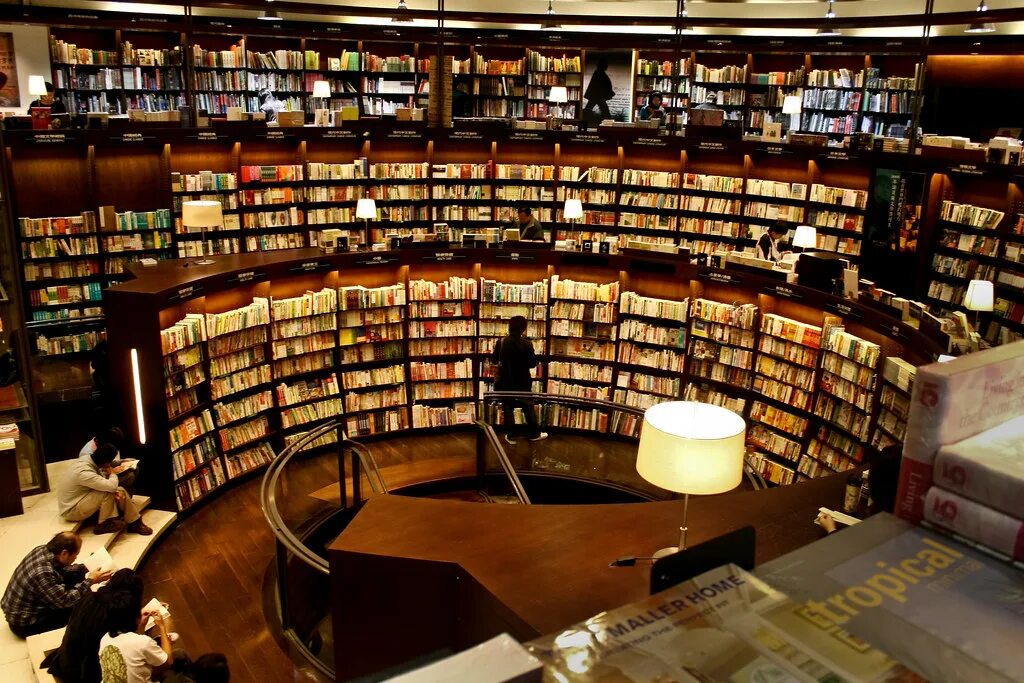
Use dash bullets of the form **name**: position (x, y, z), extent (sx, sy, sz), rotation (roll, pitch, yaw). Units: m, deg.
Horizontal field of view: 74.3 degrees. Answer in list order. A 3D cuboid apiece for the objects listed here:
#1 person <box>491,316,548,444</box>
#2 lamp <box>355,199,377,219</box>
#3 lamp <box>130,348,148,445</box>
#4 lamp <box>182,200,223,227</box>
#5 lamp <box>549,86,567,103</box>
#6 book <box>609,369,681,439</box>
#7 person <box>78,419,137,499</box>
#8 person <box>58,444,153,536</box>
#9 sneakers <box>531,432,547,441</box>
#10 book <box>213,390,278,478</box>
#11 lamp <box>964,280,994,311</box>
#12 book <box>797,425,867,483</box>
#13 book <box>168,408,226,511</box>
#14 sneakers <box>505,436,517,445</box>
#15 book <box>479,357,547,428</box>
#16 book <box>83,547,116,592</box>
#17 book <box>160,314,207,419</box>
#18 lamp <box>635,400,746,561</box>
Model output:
- **person**: position (0.053, 0.462, 8.941), extent (0.599, 1.715, 1.314), rotation (-4, -10, -2)
- **lamp**: position (-2.399, -2.171, 11.068), extent (0.441, 0.382, 0.427), rotation (-4, 14, -16)
- **lamp**: position (-4.169, 0.612, 7.558), extent (0.165, 1.031, 0.439), rotation (1, -11, -27)
- **lamp**: position (-4.199, -1.744, 9.298), extent (0.595, 0.320, 0.571), rotation (0, 20, -8)
- **lamp**: position (1.078, -5.749, 15.743), extent (0.492, 0.479, 0.457), rotation (4, 21, 5)
- **book**: position (1.623, 0.726, 8.271), extent (1.031, 0.918, 0.338), rotation (7, 4, 25)
- **person**: position (-4.499, 1.334, 7.532), extent (0.536, 0.326, 0.865), rotation (-3, -21, -33)
- **person**: position (-4.393, 1.632, 7.340), extent (0.828, 0.898, 0.433), rotation (-12, 53, -31)
- **sneakers**: position (0.343, 1.163, 8.304), extent (0.219, 0.087, 0.083), rotation (-16, 23, -30)
- **book**: position (-3.453, 1.173, 8.650), extent (0.302, 0.896, 1.019), rotation (10, 23, 25)
- **lamp**: position (6.232, -0.612, 9.010), extent (0.383, 0.436, 0.346), rotation (-14, 20, -34)
- **book**: position (3.755, 1.296, 7.897), extent (0.217, 0.596, 0.644), rotation (0, 33, -28)
- **book**: position (-3.799, 1.411, 8.185), extent (0.337, 1.180, 0.939), rotation (-7, -10, 16)
- **sneakers**: position (-0.020, 1.200, 8.239), extent (0.071, 0.067, 0.162), rotation (-11, 29, -30)
- **book**: position (-0.028, 0.678, 8.957), extent (0.610, 0.437, 1.370), rotation (11, -19, -3)
- **book**: position (-3.897, 2.133, 6.375), extent (0.351, 0.091, 0.338), rotation (-25, 44, -11)
- **book**: position (-3.781, 0.265, 7.844), extent (0.356, 1.172, 0.780), rotation (-6, -10, 10)
- **lamp**: position (1.070, 0.622, 4.041), extent (0.473, 0.548, 0.457), rotation (4, -12, -39)
